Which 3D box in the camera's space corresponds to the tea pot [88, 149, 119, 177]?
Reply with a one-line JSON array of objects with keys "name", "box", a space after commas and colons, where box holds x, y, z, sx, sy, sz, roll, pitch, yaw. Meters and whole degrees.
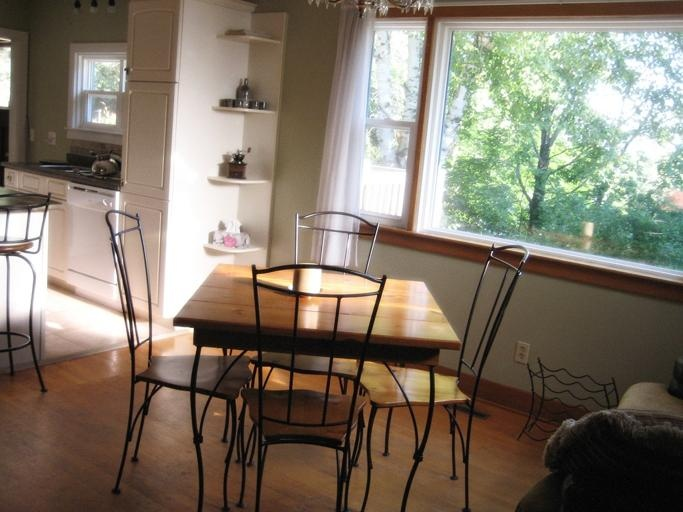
[{"name": "tea pot", "box": [-2.202, -0.877, 5.238, 0.296, 0.193, 0.308, 3, -7, 0]}]

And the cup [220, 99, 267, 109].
[{"name": "cup", "box": [-0.785, -1.221, 4.426, 0.397, 0.088, 0.124, 5, 12, -10]}]

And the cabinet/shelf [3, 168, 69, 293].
[{"name": "cabinet/shelf", "box": [-2.256, -0.181, 4.102, 0.388, 0.945, 1.006, -3, 11, -40]}]

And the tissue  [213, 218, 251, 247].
[{"name": "tissue ", "box": [-0.931, -0.200, 4.653, 0.206, 0.111, 0.273, 3, 9, 6]}]
